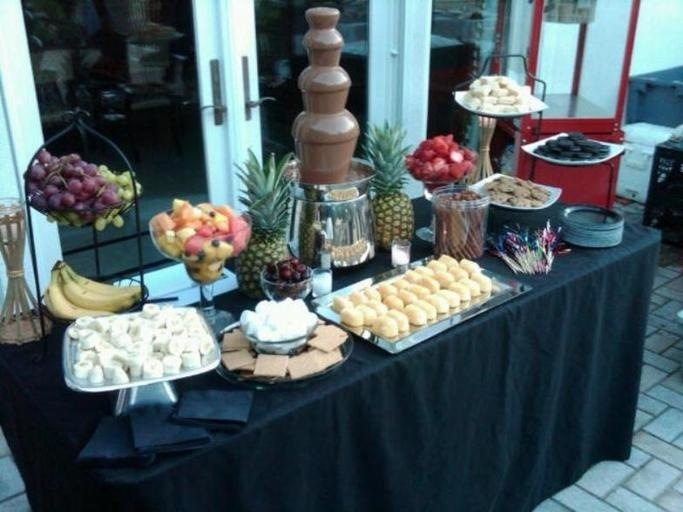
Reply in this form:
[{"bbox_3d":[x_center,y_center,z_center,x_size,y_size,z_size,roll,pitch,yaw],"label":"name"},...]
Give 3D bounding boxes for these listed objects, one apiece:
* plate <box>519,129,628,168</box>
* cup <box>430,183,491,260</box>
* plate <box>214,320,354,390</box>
[{"bbox_3d":[1.098,-0.481,2.472,0.279,0.061,0.293,-16,26,-25],"label":"plate"},{"bbox_3d":[0.426,-0.154,2.154,0.259,0.276,0.264,-2,20,1],"label":"cup"},{"bbox_3d":[-0.191,0.230,1.589,0.371,0.154,0.340,-9,22,-35],"label":"plate"}]
